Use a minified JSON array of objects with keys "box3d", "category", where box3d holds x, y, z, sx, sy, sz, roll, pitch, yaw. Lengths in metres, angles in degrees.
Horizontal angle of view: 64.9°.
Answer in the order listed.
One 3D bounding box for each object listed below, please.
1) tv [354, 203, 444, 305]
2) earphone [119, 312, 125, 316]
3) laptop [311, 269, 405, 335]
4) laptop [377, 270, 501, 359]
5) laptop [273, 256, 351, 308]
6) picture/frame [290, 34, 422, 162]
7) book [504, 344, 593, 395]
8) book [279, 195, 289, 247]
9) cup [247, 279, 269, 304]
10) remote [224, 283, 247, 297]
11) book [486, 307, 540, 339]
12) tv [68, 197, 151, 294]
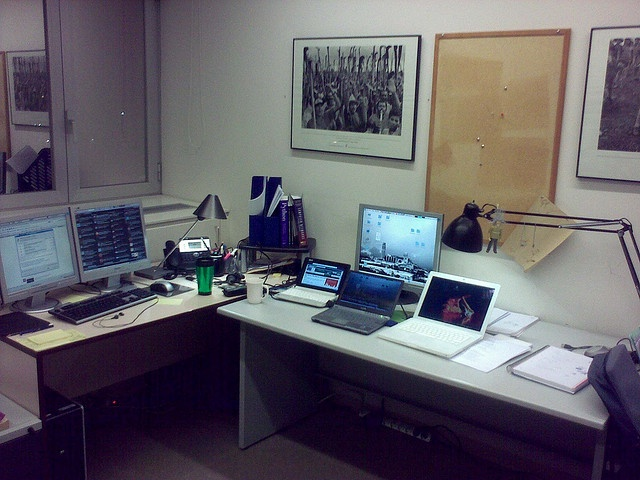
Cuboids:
[{"box3d":[0.469,0.090,2.880,0.518,0.527,0.186,8,5,30],"category":"tv"},{"box3d":[-1.059,0.398,2.686,0.022,0.010,0.013,0,14,12],"category":"earphone"},{"box3d":[0.242,0.346,2.753,0.345,0.217,0.349,12,13,34],"category":"laptop"},{"box3d":[0.605,0.360,2.552,0.581,0.242,0.469,-8,12,-40],"category":"laptop"},{"box3d":[-0.044,0.233,2.931,0.325,0.195,0.312,9,11,32],"category":"laptop"},{"box3d":[0.253,-0.894,3.104,0.776,0.677,0.030,7,12,25],"category":"picture/frame"},{"box3d":[1.071,0.575,2.285,0.297,0.033,0.368,16,23,37],"category":"book"},{"box3d":[-0.227,-0.114,3.225,0.058,0.318,0.054,-1,18,-8],"category":"book"},{"box3d":[-0.366,0.293,2.929,0.150,0.139,0.100,2,7,2],"category":"cup"},{"box3d":[-0.516,0.300,3.028,0.110,0.041,0.082,-4,12,-20],"category":"remote"},{"box3d":[1.007,0.442,2.668,0.168,0.026,0.157,9,23,41],"category":"book"},{"box3d":[-1.236,0.051,2.943,0.467,0.557,0.174,-12,15,-43],"category":"tv"}]
